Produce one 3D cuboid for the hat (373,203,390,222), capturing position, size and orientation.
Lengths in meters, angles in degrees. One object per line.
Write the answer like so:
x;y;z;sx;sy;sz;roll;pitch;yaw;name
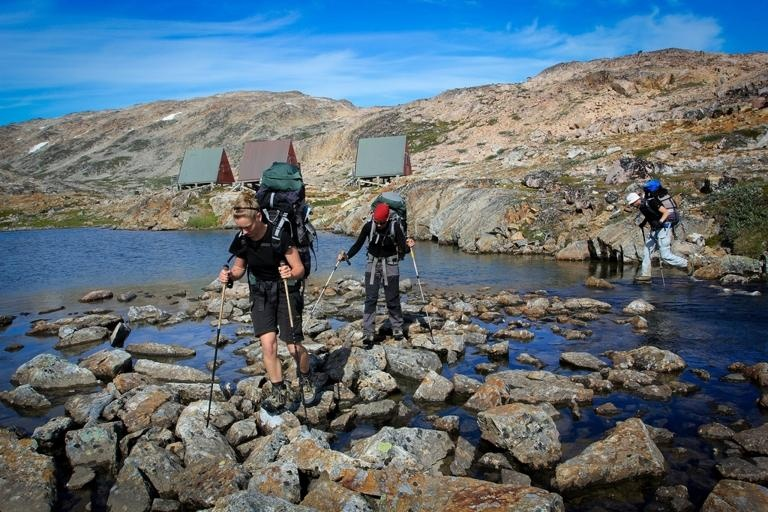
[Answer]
-0.077;-1.389;15.405;0.484;0.615;0.360;-1;7;-7;hat
